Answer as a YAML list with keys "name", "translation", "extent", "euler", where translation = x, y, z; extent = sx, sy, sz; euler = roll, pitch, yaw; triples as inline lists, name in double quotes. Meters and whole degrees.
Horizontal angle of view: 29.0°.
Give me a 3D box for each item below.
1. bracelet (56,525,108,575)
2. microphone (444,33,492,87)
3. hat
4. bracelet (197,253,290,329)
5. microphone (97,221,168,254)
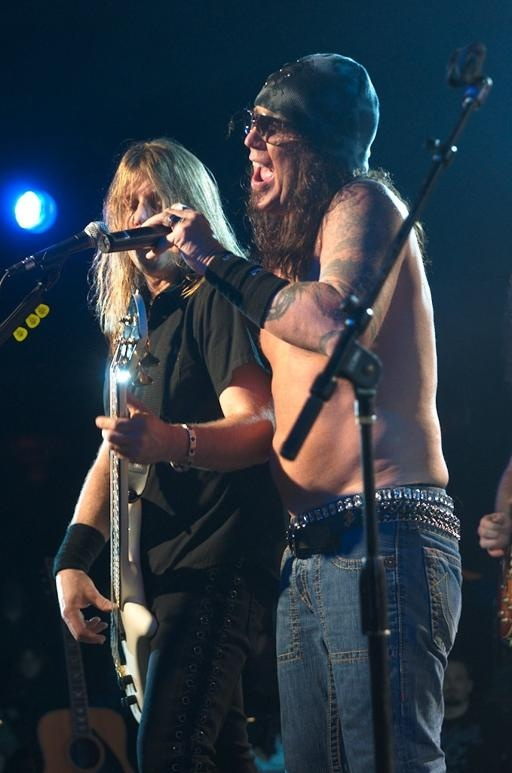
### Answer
- name: "bracelet"
  translation: [-0.542, 0.500, 3.089]
  extent: [0.155, 0.182, 0.127]
  euler: [5, -31, -19]
- name: "microphone"
  translation: [0.495, -0.741, 2.283]
  extent: [0.071, 0.112, 0.115]
  euler: [4, 10, -25]
- name: "hat"
  translation: [0.189, -0.812, 2.840]
  extent: [0.353, 0.259, 0.267]
  euler: [4, 19, 30]
- name: "bracelet"
  translation: [-0.043, -0.242, 2.457]
  extent: [0.060, 0.119, 0.200]
  euler: [-35, 14, 46]
- name: "microphone"
  translation: [-0.337, -0.408, 2.764]
  extent: [0.262, 0.058, 0.063]
  euler: [-9, -10, -5]
